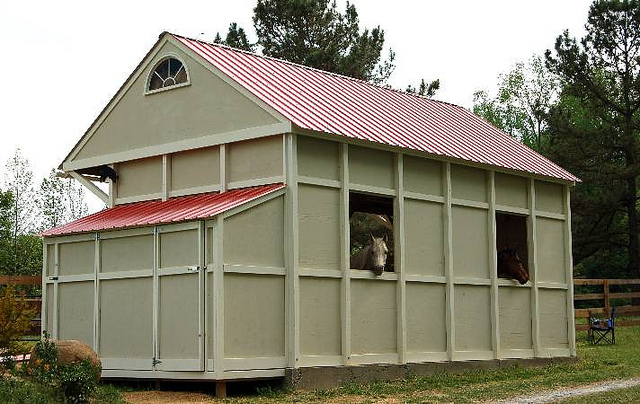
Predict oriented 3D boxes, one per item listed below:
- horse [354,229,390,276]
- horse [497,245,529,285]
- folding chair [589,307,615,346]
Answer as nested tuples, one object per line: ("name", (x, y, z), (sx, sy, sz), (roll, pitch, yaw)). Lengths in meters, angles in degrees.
("horse", (1.693, 1.688, 28.539), (1.004, 0.939, 2.636), (5, 4, 3))
("horse", (6.886, 2.305, 31.326), (0.433, 0.980, 1.304), (3, 4, -33))
("folding chair", (11.996, 5.355, 37.082), (0.777, 1.372, 0.849), (-7, -29, 24))
